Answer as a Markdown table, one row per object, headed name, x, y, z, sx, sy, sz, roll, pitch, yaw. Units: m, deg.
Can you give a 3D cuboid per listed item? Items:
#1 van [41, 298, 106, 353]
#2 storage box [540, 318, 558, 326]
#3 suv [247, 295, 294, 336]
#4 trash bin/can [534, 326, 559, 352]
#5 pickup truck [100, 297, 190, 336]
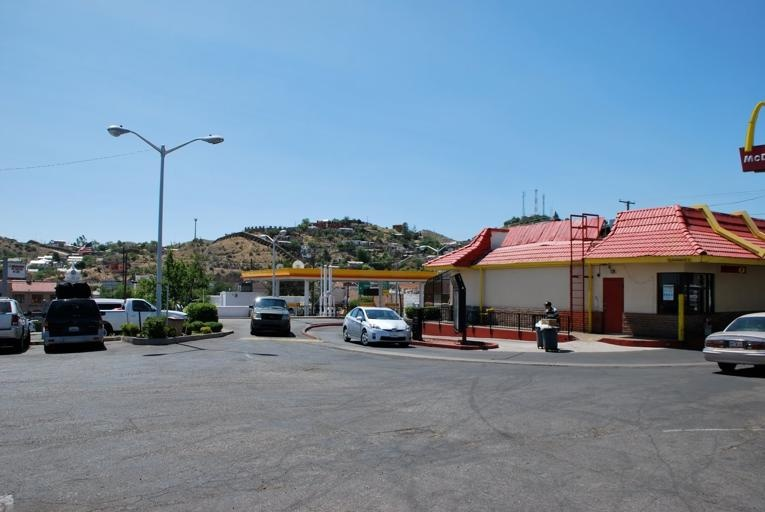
| name | x | y | z | sx | sy | sz | roll | pitch | yaw |
| --- | --- | --- | --- | --- | --- | --- | --- | --- | --- |
| van | -11.448 | 2.452 | 24.204 | 1.537 | 1.308 | 2.641 | 1 | 1 | -21 |
| storage box | 6.848 | 2.746 | 27.055 | 0.639 | 0.343 | 0.803 | -2 | -4 | 11 |
| suv | -5.703 | 3.074 | 33.264 | 1.886 | 1.985 | 2.235 | 0 | -4 | -9 |
| trash bin/can | 6.791 | 3.355 | 27.109 | 0.852 | 1.300 | 1.488 | -1 | 0 | 6 |
| pickup truck | -11.295 | 2.714 | 30.565 | 3.861 | 1.265 | 2.015 | 0 | -2 | -10 |
